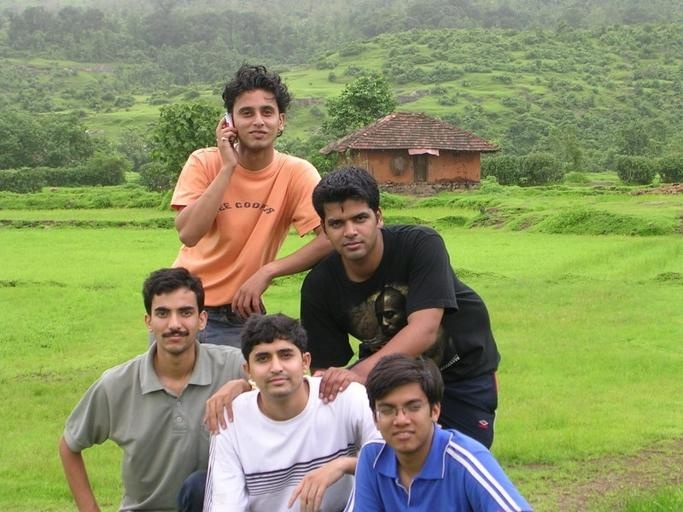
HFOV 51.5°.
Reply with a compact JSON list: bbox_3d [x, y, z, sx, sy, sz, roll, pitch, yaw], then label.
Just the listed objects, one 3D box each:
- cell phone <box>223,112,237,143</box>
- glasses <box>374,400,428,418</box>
[{"bbox_3d":[-0.954,-1.094,6.062,0.092,0.268,0.118,-13,18,-35],"label":"cell phone"},{"bbox_3d":[0.409,1.079,4.982,0.174,0.051,0.177,-7,-32,11],"label":"glasses"}]
